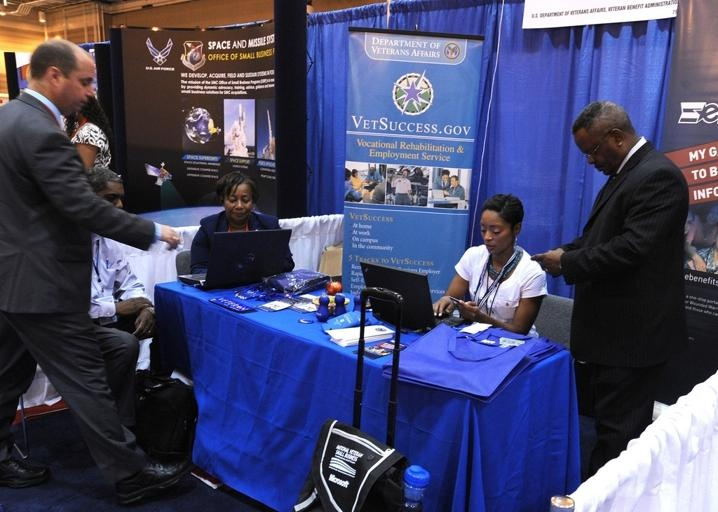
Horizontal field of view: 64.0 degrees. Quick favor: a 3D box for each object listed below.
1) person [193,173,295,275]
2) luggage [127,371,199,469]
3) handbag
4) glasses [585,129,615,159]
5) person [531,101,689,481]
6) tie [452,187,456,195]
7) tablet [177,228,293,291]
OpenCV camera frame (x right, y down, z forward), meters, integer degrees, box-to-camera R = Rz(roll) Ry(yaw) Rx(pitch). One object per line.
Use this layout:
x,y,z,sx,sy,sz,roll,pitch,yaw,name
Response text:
-0.810,-0.205,3.910,0.685,0.670,0.439,0,7,-14,person
-1.120,0.962,3.278,0.265,0.505,0.478,-6,12,-41,luggage
0.489,0.486,2.671,0.504,0.177,0.380,4,10,36,handbag
1.221,-0.571,2.916,0.118,0.143,0.125,-23,13,-37,glasses
1.382,0.348,3.287,0.752,2.326,0.777,7,23,28,person
0.811,-0.550,4.909,0.035,0.053,0.010,-2,13,-5,tie
-0.692,0.015,3.531,0.565,0.364,0.404,-11,27,-35,tablet
